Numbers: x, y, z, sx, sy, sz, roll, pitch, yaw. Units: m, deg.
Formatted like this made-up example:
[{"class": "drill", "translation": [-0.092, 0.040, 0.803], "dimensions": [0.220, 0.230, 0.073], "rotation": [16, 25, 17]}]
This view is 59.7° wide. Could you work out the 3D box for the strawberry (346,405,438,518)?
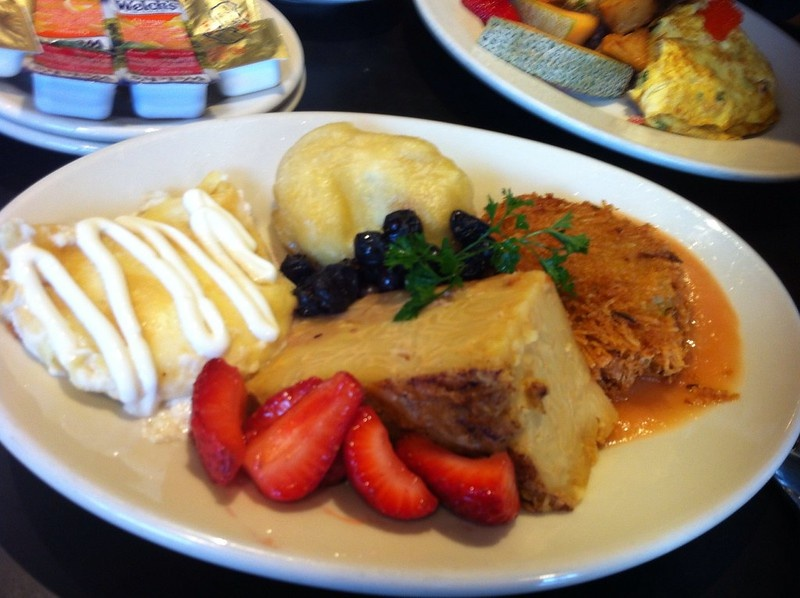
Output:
[{"class": "strawberry", "translation": [-0.055, 0.333, 1.425], "dimensions": [0.165, 0.094, 0.250], "rotation": [9, 35, -26]}]
